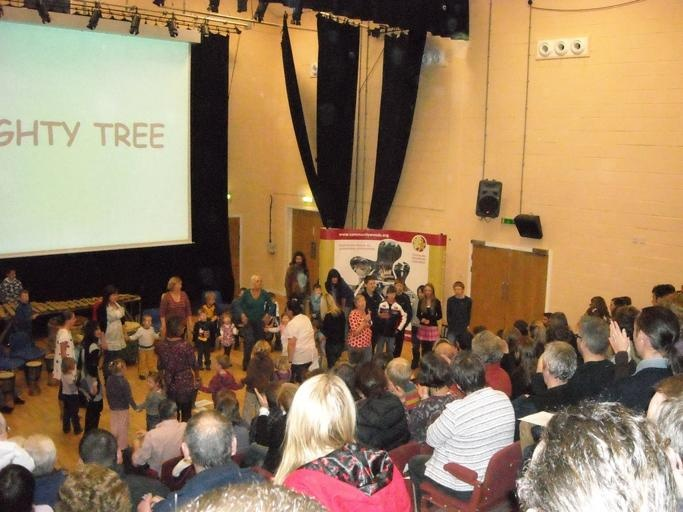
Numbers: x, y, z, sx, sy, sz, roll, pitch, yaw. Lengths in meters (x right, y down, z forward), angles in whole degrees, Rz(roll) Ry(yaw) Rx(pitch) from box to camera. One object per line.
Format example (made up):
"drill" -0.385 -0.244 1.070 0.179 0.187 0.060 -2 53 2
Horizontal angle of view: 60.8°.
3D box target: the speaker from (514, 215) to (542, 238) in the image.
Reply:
"speaker" 3.026 -0.491 9.405 0.102 0.327 0.309 -30 25 -34

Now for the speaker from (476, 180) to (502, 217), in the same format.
"speaker" 2.487 -0.976 9.829 0.377 0.628 0.169 9 12 24
